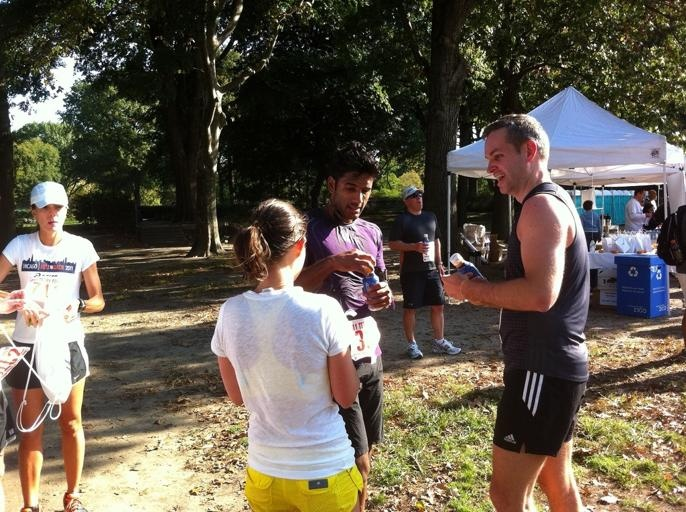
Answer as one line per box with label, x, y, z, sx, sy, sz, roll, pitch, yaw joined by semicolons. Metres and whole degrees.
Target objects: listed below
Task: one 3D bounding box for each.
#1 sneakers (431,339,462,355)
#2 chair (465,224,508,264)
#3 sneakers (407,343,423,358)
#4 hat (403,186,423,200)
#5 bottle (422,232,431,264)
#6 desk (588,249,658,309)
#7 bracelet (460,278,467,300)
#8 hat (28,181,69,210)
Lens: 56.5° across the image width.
sneakers;1.451;1.256;8.895;0.425;0.212;0.181;3;6;15
chair;3.664;-0.311;16.134;0.839;0.505;1.439;3;15;-3
sneakers;0.986;1.286;8.695;0.112;0.133;0.278;-3;-2;-10
hat;0.921;-0.833;8.512;0.166;0.132;0.226;-19;-8;-42
bottle;1.107;-0.094;8.332;0.096;0.364;0.444;0;6;8
desk;5.070;0.463;11.801;0.667;0.807;0.736;13;14;3
bracelet;0.840;0.224;4.399;0.025;0.112;0.078;6;5;-3
hat;-2.415;-0.492;5.213;0.209;0.162;0.288;-2;4;-34
